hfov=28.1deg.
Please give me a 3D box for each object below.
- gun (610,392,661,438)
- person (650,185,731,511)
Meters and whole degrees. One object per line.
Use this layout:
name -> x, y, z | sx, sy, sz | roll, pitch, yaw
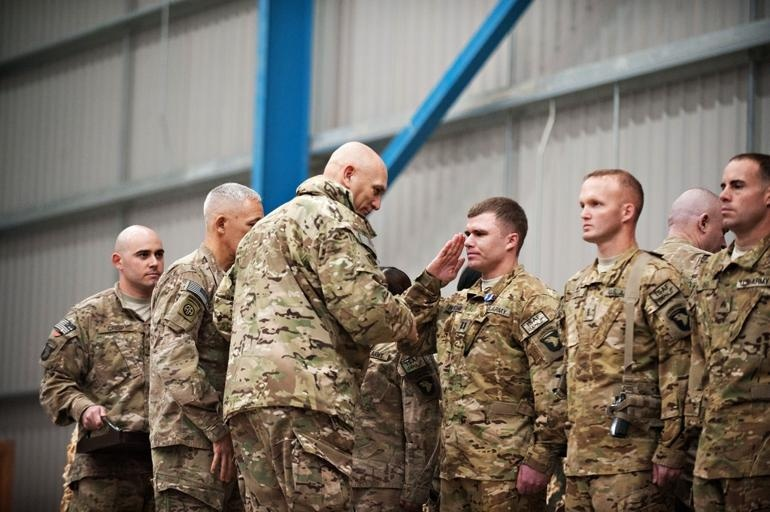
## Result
gun -> 2.037, 1.280, 12.413 | 0.364, 0.372, 0.168 | 2, -3, 1
person -> 2.659, 0.748, 13.344 | 0.514, 2.680, 0.704 | -1, 0, 11
